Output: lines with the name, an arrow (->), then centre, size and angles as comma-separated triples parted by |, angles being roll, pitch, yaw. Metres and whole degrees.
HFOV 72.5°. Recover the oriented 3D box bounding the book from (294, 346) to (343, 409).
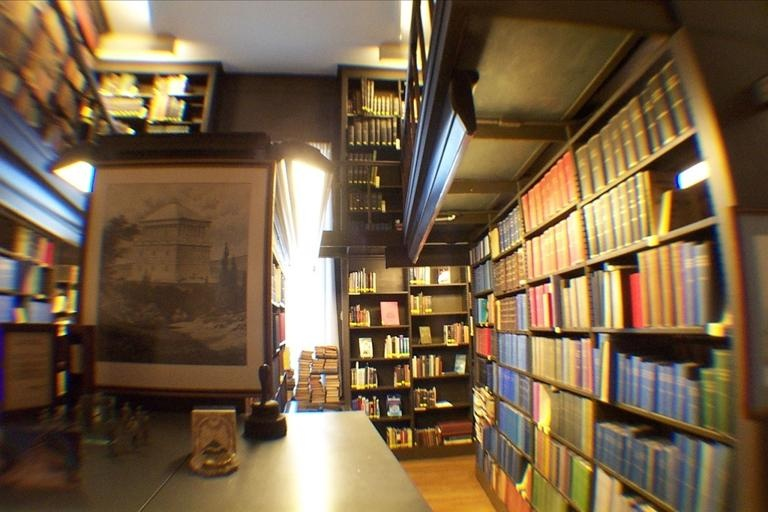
book -> -0.631, 1.126, 5.300 | 0.486, 0.674, 0.693 | 0, -7, -5
